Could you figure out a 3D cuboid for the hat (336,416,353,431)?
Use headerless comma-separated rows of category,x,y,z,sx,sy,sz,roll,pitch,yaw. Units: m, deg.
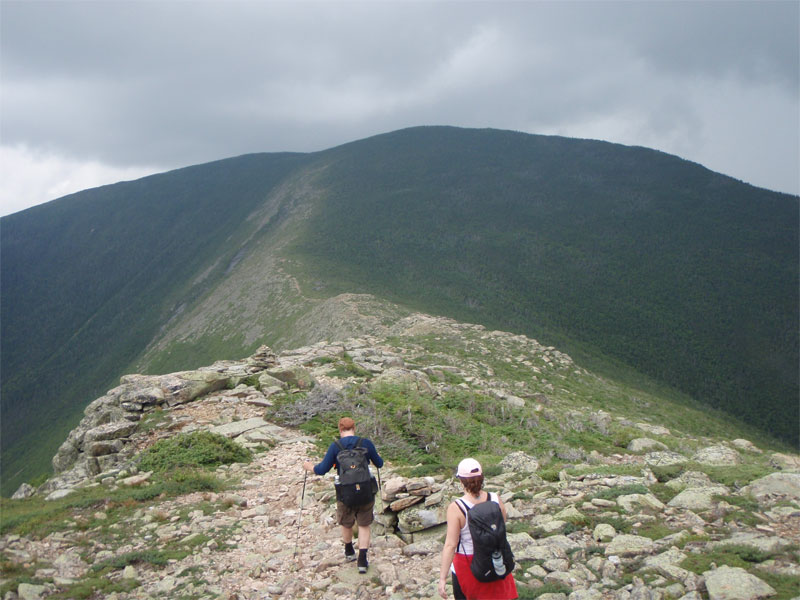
hat,-1.990,4.458,23.995,0.433,0.607,0.591,2,3,-8
